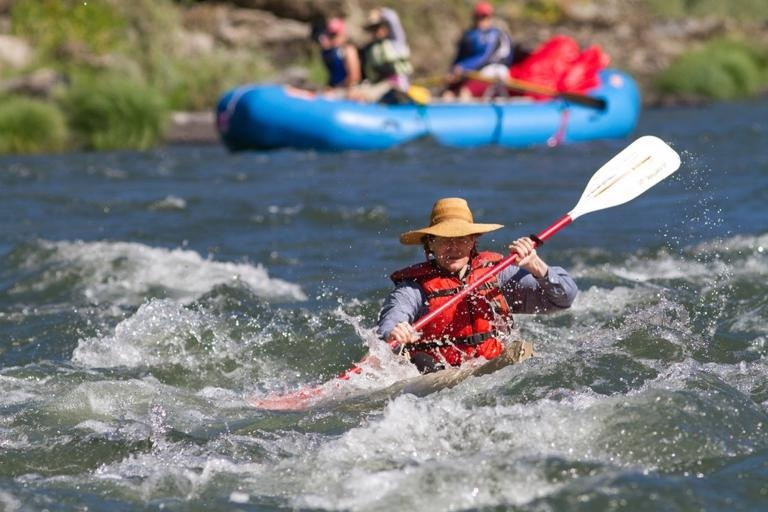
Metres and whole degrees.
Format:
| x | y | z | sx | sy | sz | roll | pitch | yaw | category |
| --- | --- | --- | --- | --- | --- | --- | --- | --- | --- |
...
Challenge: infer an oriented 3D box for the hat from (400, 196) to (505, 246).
| x | y | z | sx | sy | sz | roll | pitch | yaw | category |
| --- | --- | --- | --- | --- | --- | --- | --- | --- | --- |
| 0.867 | -0.461 | 20.389 | 0.891 | 0.898 | 0.335 | -5 | 86 | -10 | hat |

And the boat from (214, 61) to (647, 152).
| x | y | z | sx | sy | sz | roll | pitch | yaw | category |
| --- | --- | --- | --- | --- | --- | --- | --- | --- | --- |
| 0.734 | -2.180 | 24.311 | 5.319 | 2.290 | 0.852 | -1 | 92 | -20 | boat |

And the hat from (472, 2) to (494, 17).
| x | y | z | sx | sy | sz | roll | pitch | yaw | category |
| --- | --- | --- | --- | --- | --- | --- | --- | --- | --- |
| 1.615 | -4.025 | 24.400 | 0.262 | 0.395 | 0.178 | -6 | 58 | -3 | hat |

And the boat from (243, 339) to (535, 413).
| x | y | z | sx | sy | sz | roll | pitch | yaw | category |
| --- | --- | --- | --- | --- | --- | --- | --- | --- | --- |
| 0.136 | 1.520 | 18.519 | 2.797 | 0.377 | 0.352 | -9 | 37 | 2 | boat |
